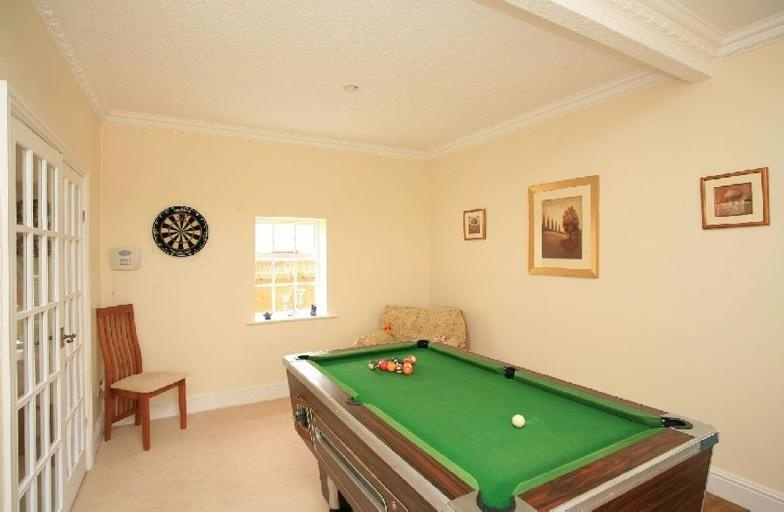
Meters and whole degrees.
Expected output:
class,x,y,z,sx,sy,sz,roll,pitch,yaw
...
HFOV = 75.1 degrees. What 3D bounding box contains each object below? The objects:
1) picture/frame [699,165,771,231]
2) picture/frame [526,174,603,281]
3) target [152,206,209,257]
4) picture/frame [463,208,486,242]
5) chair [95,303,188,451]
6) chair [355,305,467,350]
class,x,y,z,sx,sy,sz,roll,pitch,yaw
picture/frame,2.737,-0.453,4.090,0.449,0.554,0.040,-4,-1,32
picture/frame,1.691,-0.258,5.065,0.080,0.976,0.772,-2,-2,-39
target,-2.244,-0.267,5.403,0.541,0.506,0.135,2,6,-32
picture/frame,0.979,-0.365,5.958,0.058,0.382,0.406,3,-4,-30
chair,-2.482,1.152,5.029,0.720,1.360,0.517,-3,-1,15
chair,0.329,0.818,6.024,1.232,0.507,0.960,5,4,28
